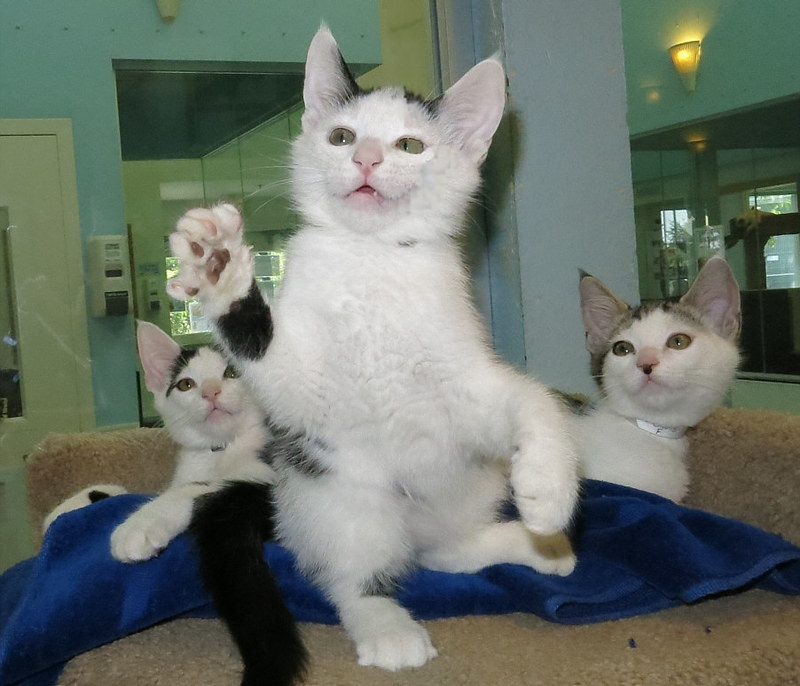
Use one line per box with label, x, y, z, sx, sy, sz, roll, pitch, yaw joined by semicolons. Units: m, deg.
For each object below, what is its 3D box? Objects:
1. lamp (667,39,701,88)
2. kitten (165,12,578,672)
lamp;0.585;-0.568;2.061;0.026;0.103;0.089;-7;10;-21
kitten;-0.047;-0.028;1.635;0.630;1.012;0.417;-5;9;-11
